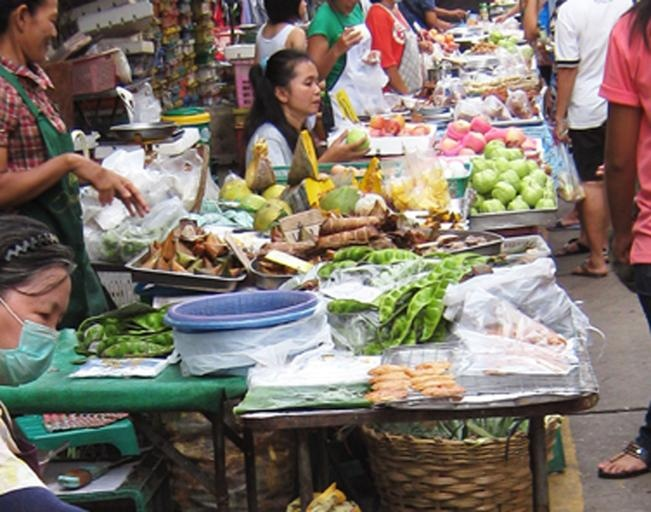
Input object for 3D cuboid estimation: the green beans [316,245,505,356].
[{"bbox_3d":[0.349,0.103,2.278,0.586,0.318,0.569,1,15,14],"label":"green beans"}]
